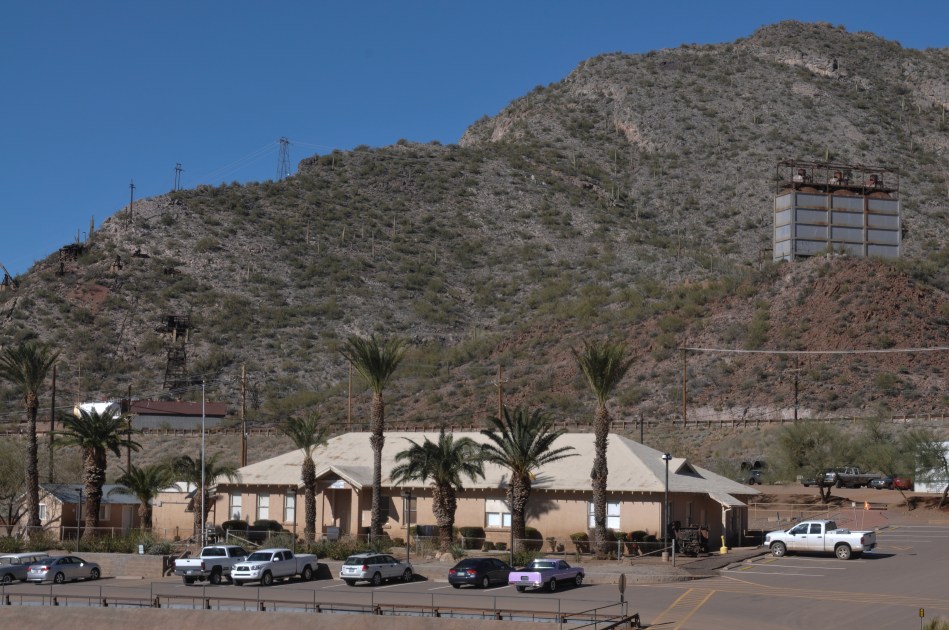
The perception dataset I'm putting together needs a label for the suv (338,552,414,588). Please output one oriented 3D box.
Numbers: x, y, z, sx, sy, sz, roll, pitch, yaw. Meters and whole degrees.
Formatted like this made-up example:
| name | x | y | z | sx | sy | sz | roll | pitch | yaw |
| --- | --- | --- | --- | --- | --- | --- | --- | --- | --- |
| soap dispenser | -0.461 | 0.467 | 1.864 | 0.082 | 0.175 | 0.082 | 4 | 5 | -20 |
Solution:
| name | x | y | z | sx | sy | sz | roll | pitch | yaw |
| --- | --- | --- | --- | --- | --- | --- | --- | --- | --- |
| suv | -10.208 | 25.752 | 232.246 | 6.420 | 2.250 | 3.134 | -3 | 2 | -39 |
